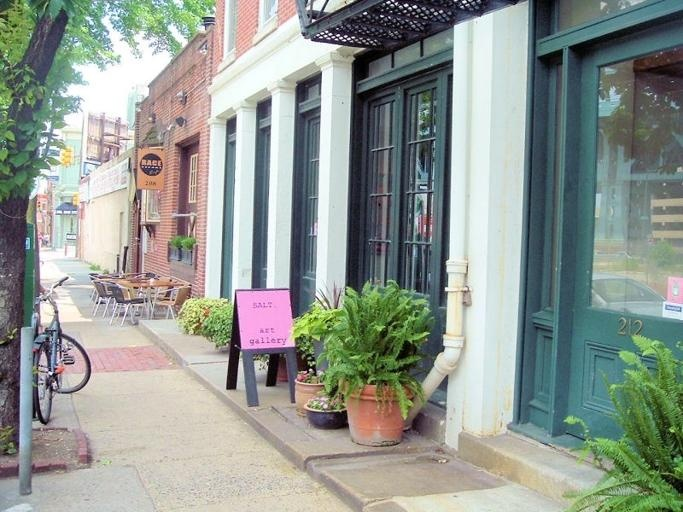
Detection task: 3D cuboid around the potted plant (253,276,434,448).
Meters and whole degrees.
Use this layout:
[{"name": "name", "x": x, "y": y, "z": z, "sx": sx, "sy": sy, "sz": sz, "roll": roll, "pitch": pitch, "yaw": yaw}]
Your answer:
[{"name": "potted plant", "x": 0.169, "y": 1.044, "z": 5.675, "sx": 1.434, "sy": 1.555, "sz": 0.898, "roll": 0, "pitch": 5, "yaw": 39}]

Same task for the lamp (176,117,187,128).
[{"name": "lamp", "x": -4.250, "y": -3.541, "z": 14.947, "sx": 0.107, "sy": 0.287, "sz": 0.386, "roll": -13, "pitch": 11, "yaw": -43}]

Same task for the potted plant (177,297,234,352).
[{"name": "potted plant", "x": -2.238, "y": 1.083, "z": 9.577, "sx": 0.852, "sy": 0.488, "sz": 1.214, "roll": 1, "pitch": 0, "yaw": -37}]
